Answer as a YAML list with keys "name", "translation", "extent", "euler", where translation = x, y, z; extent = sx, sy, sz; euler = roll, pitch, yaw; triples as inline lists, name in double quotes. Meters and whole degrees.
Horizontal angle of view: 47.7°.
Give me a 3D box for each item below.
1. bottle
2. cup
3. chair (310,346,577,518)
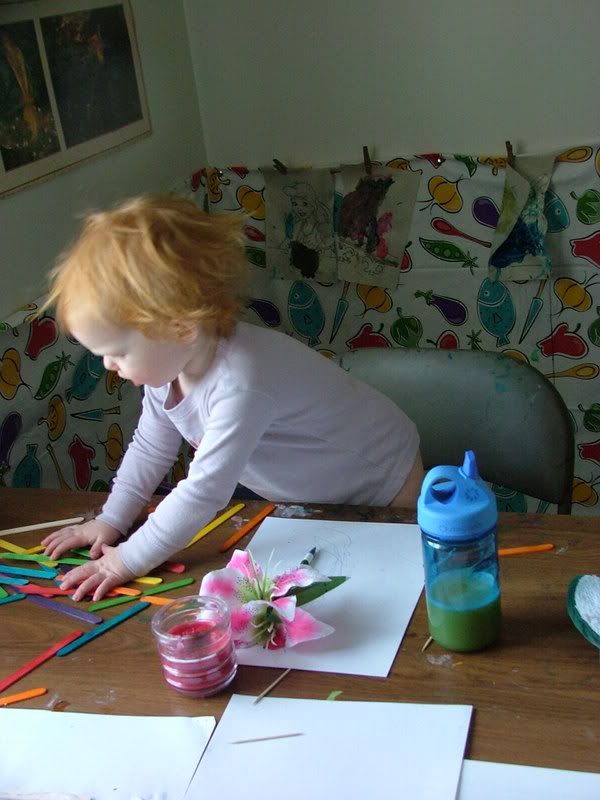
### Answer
- name: "bottle"
  translation: [0.143, 0.113, 0.600]
  extent: [0.068, 0.182, 0.150]
  euler: [1, 29, 15]
- name: "cup"
  translation: [-0.084, 0.205, 0.582]
  extent: [0.081, 0.076, 0.074]
  euler: [-4, 27, 2]
- name: "chair"
  translation: [0.290, 0.035, 1.171]
  extent: [0.290, 0.393, 0.274]
  euler: [4, 52, 32]
